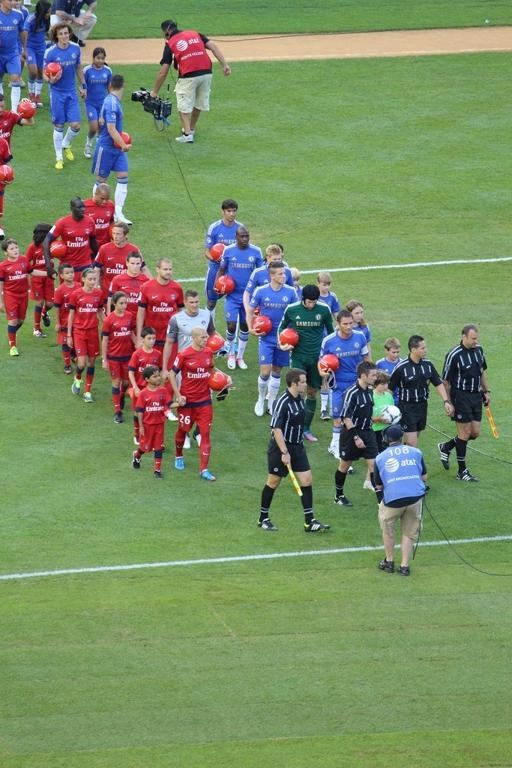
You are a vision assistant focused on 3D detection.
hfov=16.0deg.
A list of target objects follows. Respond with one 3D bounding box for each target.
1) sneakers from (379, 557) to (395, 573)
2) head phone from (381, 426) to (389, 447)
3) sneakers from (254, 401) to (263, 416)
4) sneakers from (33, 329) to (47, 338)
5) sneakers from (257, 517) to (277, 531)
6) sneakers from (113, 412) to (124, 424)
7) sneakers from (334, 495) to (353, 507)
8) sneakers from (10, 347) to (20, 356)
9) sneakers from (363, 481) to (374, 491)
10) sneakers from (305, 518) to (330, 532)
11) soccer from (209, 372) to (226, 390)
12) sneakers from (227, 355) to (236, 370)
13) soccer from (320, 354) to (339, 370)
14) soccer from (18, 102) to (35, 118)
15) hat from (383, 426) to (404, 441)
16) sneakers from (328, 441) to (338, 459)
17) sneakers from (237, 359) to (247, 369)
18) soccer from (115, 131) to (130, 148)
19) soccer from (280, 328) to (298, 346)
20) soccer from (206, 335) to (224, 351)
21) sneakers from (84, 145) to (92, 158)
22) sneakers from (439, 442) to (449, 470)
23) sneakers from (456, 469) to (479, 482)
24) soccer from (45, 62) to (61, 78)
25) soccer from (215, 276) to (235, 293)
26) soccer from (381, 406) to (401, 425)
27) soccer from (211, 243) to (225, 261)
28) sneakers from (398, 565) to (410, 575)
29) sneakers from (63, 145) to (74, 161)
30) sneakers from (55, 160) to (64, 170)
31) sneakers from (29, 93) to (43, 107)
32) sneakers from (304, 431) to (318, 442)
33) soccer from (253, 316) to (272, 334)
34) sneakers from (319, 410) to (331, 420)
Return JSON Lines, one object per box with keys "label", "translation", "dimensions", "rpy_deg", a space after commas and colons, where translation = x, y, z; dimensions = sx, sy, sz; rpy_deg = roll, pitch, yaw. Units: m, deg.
{"label": "sneakers", "translation": [1.444, 1.994, 20.156], "dimensions": [0.183, 0.116, 0.220], "rpy_deg": [-1, 13, 2]}
{"label": "head phone", "translation": [1.492, 0.610, 20.997], "dimensions": [0.164, 0.221, 0.218], "rpy_deg": [1, -1, 2]}
{"label": "sneakers", "translation": [0.063, 0.323, 24.022], "dimensions": [0.078, 0.164, 0.225], "rpy_deg": [6, 25, -6]}
{"label": "sneakers", "translation": [-3.013, -0.739, 25.824], "dimensions": [0.168, 0.119, 0.151], "rpy_deg": [-3, 13, -7]}
{"label": "sneakers", "translation": [0.140, 1.611, 21.078], "dimensions": [0.238, 0.107, 0.100], "rpy_deg": [12, 19, 39]}
{"label": "sneakers", "translation": [-1.751, 0.416, 23.587], "dimensions": [0.118, 0.149, 0.217], "rpy_deg": [-3, 13, -5]}
{"label": "sneakers", "translation": [1.059, 1.392, 21.846], "dimensions": [0.204, 0.093, 0.099], "rpy_deg": [9, 20, 44]}
{"label": "sneakers", "translation": [-3.286, -0.481, 25.135], "dimensions": [0.134, 0.156, 0.257], "rpy_deg": [-3, 13, -7]}
{"label": "sneakers", "translation": [1.373, 1.235, 22.271], "dimensions": [0.167, 0.104, 0.069], "rpy_deg": [0, 12, -17]}
{"label": "sneakers", "translation": [0.694, 1.640, 20.996], "dimensions": [0.331, 0.171, 0.117], "rpy_deg": [-3, 20, 5]}
{"label": "soccer", "translation": [-0.433, -0.023, 22.117], "dimensions": [0.218, 0.261, 0.270], "rpy_deg": [-2, 13, -1]}
{"label": "sneakers", "translation": [-0.316, -0.311, 25.202], "dimensions": [0.084, 0.088, 0.221], "rpy_deg": [1, 47, -23]}
{"label": "soccer", "translation": [0.911, -0.281, 22.364], "dimensions": [0.209, 0.167, 0.164], "rpy_deg": [36, -7, -41]}
{"label": "soccer", "translation": [-3.587, -4.378, 28.807], "dimensions": [0.248, 0.281, 0.282], "rpy_deg": [-3, 13, -6]}
{"label": "hat", "translation": [1.518, 0.534, 19.996], "dimensions": [0.142, 0.131, 0.193], "rpy_deg": [0, 38, 1]}
{"label": "sneakers", "translation": [0.996, 0.831, 23.097], "dimensions": [0.085, 0.106, 0.246], "rpy_deg": [-18, 39, -25]}
{"label": "sneakers", "translation": [-0.173, -0.301, 25.299], "dimensions": [0.078, 0.083, 0.194], "rpy_deg": [-17, 31, -24]}
{"label": "soccer", "translation": [-1.930, -3.750, 27.604], "dimensions": [0.196, 0.247, 0.250], "rpy_deg": [-17, -3, -12]}
{"label": "soccer", "translation": [0.434, -0.594, 22.708], "dimensions": [0.207, 0.232, 0.207], "rpy_deg": [14, 39, 7]}
{"label": "soccer", "translation": [-0.478, -0.502, 22.477], "dimensions": [0.205, 0.180, 0.157], "rpy_deg": [-27, 55, -18]}
{"label": "sneakers", "translation": [-2.855, -4.051, 31.480], "dimensions": [0.093, 0.106, 0.272], "rpy_deg": [-1, 26, -14]}
{"label": "sneakers", "translation": [2.356, 0.901, 22.902], "dimensions": [0.143, 0.327, 0.103], "rpy_deg": [-10, 11, 27]}
{"label": "sneakers", "translation": [2.611, 1.123, 22.535], "dimensions": [0.231, 0.128, 0.119], "rpy_deg": [7, 15, 19]}
{"label": "soccer", "translation": [-3.215, -5.080, 29.369], "dimensions": [0.207, 0.269, 0.208], "rpy_deg": [12, -24, -2]}
{"label": "soccer", "translation": [-0.384, -1.322, 24.309], "dimensions": [0.239, 0.248, 0.220], "rpy_deg": [6, 28, -5]}
{"label": "soccer", "translation": [1.624, 0.347, 21.778], "dimensions": [0.183, 0.223, 0.217], "rpy_deg": [11, 26, 10]}
{"label": "soccer", "translation": [-0.471, -1.780, 24.705], "dimensions": [0.194, 0.252, 0.409], "rpy_deg": [-4, 13, -13]}
{"label": "sneakers", "translation": [1.631, 2.037, 20.043], "dimensions": [0.130, 0.114, 0.246], "rpy_deg": [0, 13, 5]}
{"label": "sneakers", "translation": [-3.163, -4.025, 31.348], "dimensions": [0.103, 0.116, 0.292], "rpy_deg": [-18, 36, -20]}
{"label": "sneakers", "translation": [-3.282, -3.757, 31.003], "dimensions": [0.112, 0.089, 0.182], "rpy_deg": [-3, 29, -6]}
{"label": "sneakers", "translation": [-3.966, -5.244, 33.334], "dimensions": [0.201, 0.265, 0.620], "rpy_deg": [-8, 18, -11]}
{"label": "sneakers", "translation": [0.722, 0.677, 23.508], "dimensions": [0.098, 0.072, 0.184], "rpy_deg": [-22, 40, -38]}
{"label": "soccer", "translation": [0.107, -0.742, 23.146], "dimensions": [0.216, 0.251, 0.341], "rpy_deg": [-1, 13, 1]}
{"label": "sneakers", "translation": [0.927, 0.395, 24.173], "dimensions": [0.128, 0.138, 0.241], "rpy_deg": [-1, 13, 1]}
